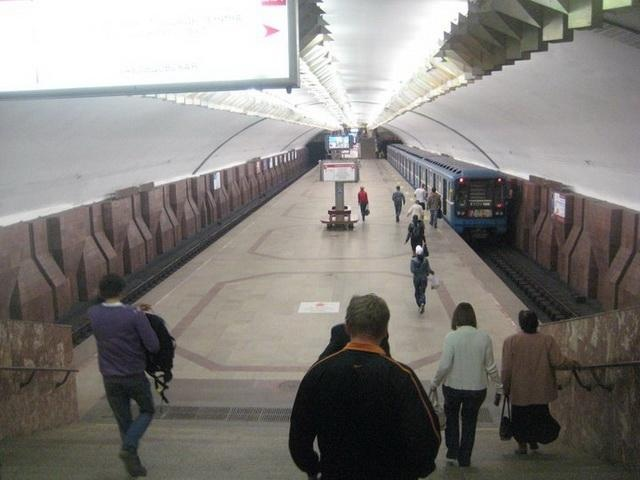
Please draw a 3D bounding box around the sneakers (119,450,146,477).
[{"bbox_3d":[-1.652,2.006,3.924,0.139,0.339,0.147,-14,43,2],"label":"sneakers"}]

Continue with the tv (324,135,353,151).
[{"bbox_3d":[1.944,-9.768,43.911,2.409,1.462,1.399,0,13,8],"label":"tv"}]

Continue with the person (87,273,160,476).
[{"bbox_3d":[-1.829,1.360,4.306,0.559,2.042,0.941,-8,14,-27],"label":"person"}]
